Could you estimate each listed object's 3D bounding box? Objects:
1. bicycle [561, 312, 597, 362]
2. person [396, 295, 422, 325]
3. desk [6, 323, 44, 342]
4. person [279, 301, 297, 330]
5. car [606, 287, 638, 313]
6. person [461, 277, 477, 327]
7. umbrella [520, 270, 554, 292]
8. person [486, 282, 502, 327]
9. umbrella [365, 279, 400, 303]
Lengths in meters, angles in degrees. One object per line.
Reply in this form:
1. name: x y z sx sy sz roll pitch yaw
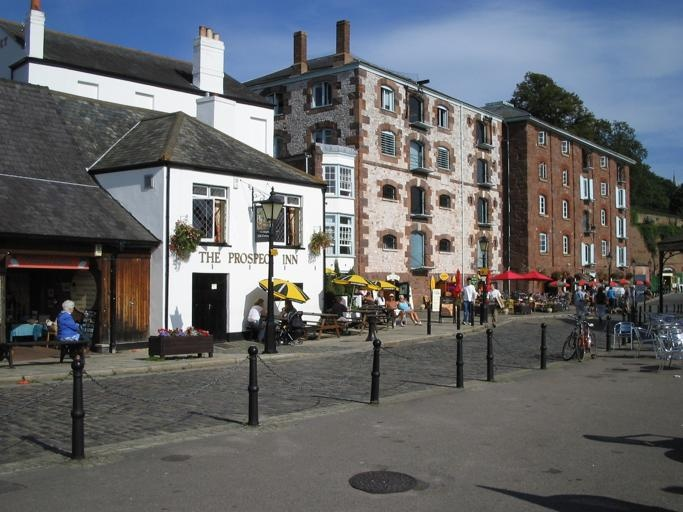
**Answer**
1. bicycle: 6.722 2.460 23.325 0.797 1.045 1.648 -4 -7 38
2. person: 3.009 2.527 36.912 0.643 1.042 1.629 -7 8 -13
3. desk: -9.688 2.332 24.801 0.959 0.581 1.843 0 -7 -22
4. person: -1.843 2.023 27.858 0.297 0.841 0.579 7 -4 -25
5. car: 16.324 2.612 47.119 1.540 1.613 2.472 0 2 15
6. person: 5.594 2.125 35.198 0.529 1.752 1.357 -2 -6 1
7. umbrella: 12.370 1.920 50.540 1.691 0.844 1.686 3 4 33
8. person: 8.103 2.594 43.033 0.854 2.297 0.692 -2 20 5
9. umbrella: 1.998 1.620 39.988 1.257 0.858 1.328 1 -5 -6
